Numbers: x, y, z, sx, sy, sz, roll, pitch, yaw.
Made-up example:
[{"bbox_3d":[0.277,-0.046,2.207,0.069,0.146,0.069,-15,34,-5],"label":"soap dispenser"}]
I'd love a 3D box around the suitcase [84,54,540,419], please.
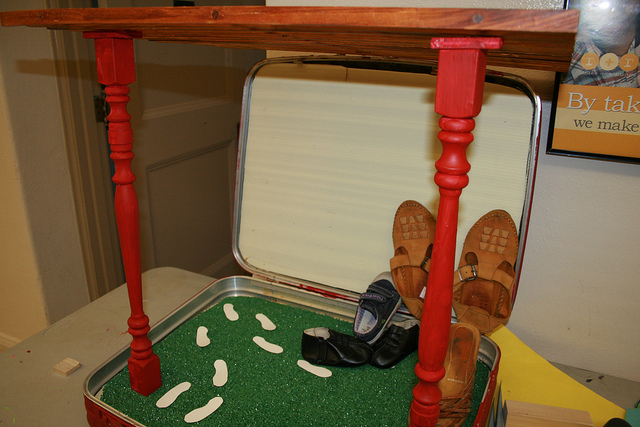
[{"bbox_3d":[0.104,0.152,1.452,1.073,0.805,1.041,15,42,23],"label":"suitcase"}]
